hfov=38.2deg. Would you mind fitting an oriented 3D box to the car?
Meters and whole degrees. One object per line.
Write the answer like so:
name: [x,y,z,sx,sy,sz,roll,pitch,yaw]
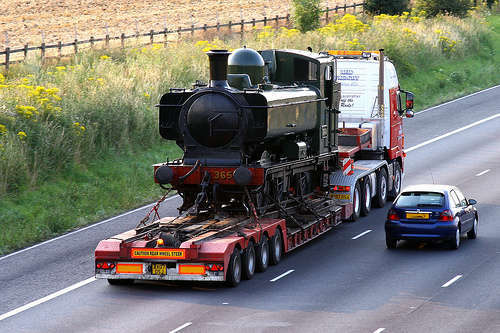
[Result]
car: [5.724,1.400,22.397,1.765,1.077,2.809,0,7,24]
